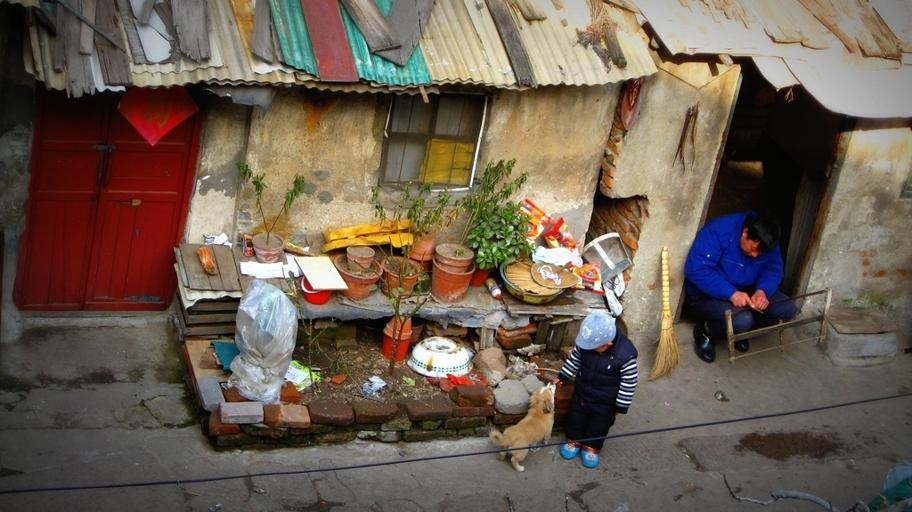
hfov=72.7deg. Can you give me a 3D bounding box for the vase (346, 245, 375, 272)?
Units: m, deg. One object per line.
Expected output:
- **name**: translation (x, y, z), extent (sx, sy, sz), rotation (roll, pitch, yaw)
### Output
- **vase**: translation (-1.353, 0.025, 8.869), extent (0.382, 0.233, 0.354), rotation (14, 31, 21)

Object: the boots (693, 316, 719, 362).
- **boots**: translation (3.946, 1.362, 10.074), extent (0.286, 0.324, 0.728), rotation (-5, 59, -5)

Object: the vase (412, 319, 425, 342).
- **vase**: translation (-0.563, 1.104, 9.146), extent (0.230, 0.248, 0.225), rotation (12, 38, 11)

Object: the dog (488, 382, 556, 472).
- **dog**: translation (0.931, 2.279, 8.196), extent (1.337, 0.776, 0.467), rotation (-22, 25, -39)

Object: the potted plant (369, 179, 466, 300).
- **potted plant**: translation (-0.318, -0.294, 9.668), extent (1.892, 1.860, 1.136), rotation (-2, 26, -15)

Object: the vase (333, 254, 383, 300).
- **vase**: translation (-1.377, 0.435, 8.907), extent (0.496, 0.341, 0.484), rotation (3, 10, -28)

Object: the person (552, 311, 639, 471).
- **person**: translation (1.854, 1.763, 8.226), extent (1.019, 2.027, 0.627), rotation (1, 16, 9)

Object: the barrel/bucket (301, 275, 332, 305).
- **barrel/bucket**: translation (-1.921, 0.477, 8.622), extent (0.405, 0.227, 0.377), rotation (5, 32, -3)

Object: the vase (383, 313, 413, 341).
- **vase**: translation (-0.796, 1.024, 8.837), extent (0.389, 0.347, 0.372), rotation (-3, 28, -37)

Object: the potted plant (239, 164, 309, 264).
- **potted plant**: translation (-2.610, -0.607, 8.774), extent (0.998, 1.264, 0.588), rotation (19, 33, 6)

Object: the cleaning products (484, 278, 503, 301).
- **cleaning products**: translation (0.570, 0.506, 9.405), extent (0.172, 0.114, 0.329), rotation (-27, 62, 0)

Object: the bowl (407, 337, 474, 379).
- **bowl**: translation (-0.221, 1.472, 8.922), extent (0.964, 0.456, 0.455), rotation (-3, 15, -6)

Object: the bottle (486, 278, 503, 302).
- **bottle**: translation (0.584, 0.518, 9.461), extent (0.178, 0.115, 0.337), rotation (-20, 59, -13)
